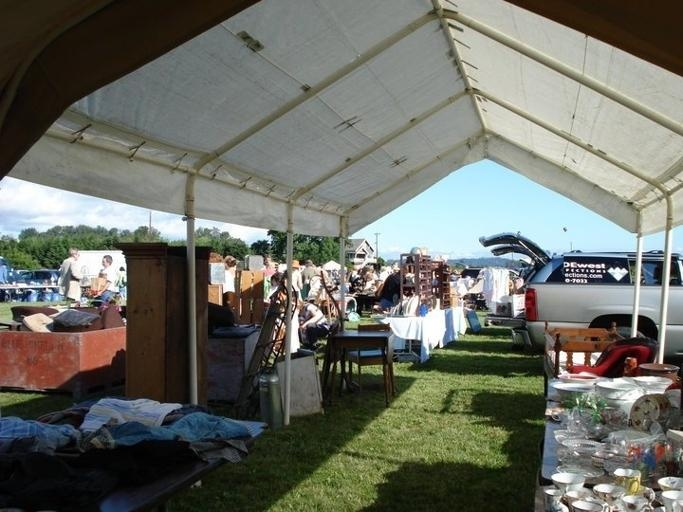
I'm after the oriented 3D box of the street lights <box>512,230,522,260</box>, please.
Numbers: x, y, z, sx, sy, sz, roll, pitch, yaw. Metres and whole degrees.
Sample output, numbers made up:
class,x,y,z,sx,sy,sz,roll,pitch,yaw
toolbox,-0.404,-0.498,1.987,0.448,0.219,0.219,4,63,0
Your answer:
class,x,y,z,sx,sy,sz,roll,pitch,yaw
street lights,4.000,-0.280,11.395,0.181,0.620,0.441,13,10,36

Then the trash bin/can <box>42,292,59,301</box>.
class,x,y,z,sx,sy,sz,roll,pitch,yaw
trash bin/can,-18.617,2.624,32.367,0.719,0.696,0.733,-2,-1,9

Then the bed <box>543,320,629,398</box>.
class,x,y,z,sx,sy,sz,roll,pitch,yaw
bed,3.403,1.516,7.037,0.974,0.796,1.355,-6,-7,23

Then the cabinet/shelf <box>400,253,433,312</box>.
class,x,y,z,sx,sy,sz,roll,pitch,yaw
cabinet/shelf,1.931,0.540,12.440,0.400,1.269,1.331,-4,1,26

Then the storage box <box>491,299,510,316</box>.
class,x,y,z,sx,sy,sz,roll,pitch,yaw
storage box,4.825,1.551,14.918,0.410,0.397,0.398,-1,-5,13

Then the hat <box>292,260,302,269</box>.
class,x,y,z,sx,sy,sz,roll,pitch,yaw
hat,-1.473,0.238,16.573,0.397,0.151,0.431,-1,-7,-1

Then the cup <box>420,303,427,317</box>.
class,x,y,z,sx,sy,sz,roll,pitch,yaw
cup,1.851,1.202,11.099,0.210,0.385,0.221,2,0,0

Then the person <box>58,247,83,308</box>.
class,x,y,z,sx,sy,sz,roll,pitch,yaw
person,-7.263,0.539,13.567,0.531,1.529,1.288,6,-5,-29

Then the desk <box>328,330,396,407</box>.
class,x,y,z,sx,sy,sz,roll,pitch,yaw
desk,0.251,1.886,8.274,1.298,1.200,1.046,-1,-7,0
